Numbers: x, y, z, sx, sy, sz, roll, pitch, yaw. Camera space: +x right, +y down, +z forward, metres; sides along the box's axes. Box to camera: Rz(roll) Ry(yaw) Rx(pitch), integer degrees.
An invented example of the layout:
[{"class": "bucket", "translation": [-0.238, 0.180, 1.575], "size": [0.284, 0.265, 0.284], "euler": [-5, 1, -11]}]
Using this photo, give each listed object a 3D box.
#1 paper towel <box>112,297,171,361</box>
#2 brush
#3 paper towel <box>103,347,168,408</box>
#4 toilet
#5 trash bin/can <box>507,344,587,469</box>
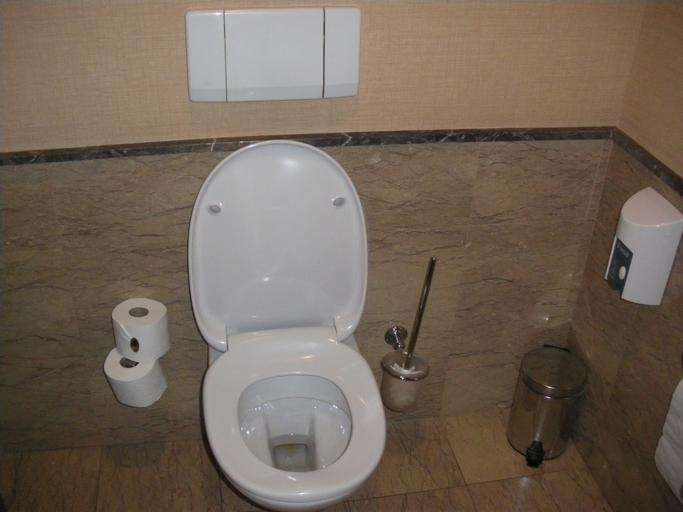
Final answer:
[{"class": "paper towel", "translation": [-0.570, 0.210, 1.668], "size": [0.143, 0.131, 0.126], "euler": [-4, 34, -20]}, {"class": "brush", "translation": [0.225, 0.173, 1.759], "size": [0.091, 0.402, 0.201], "euler": [5, 33, 12]}, {"class": "paper towel", "translation": [-0.610, 0.352, 1.725], "size": [0.144, 0.133, 0.145], "euler": [-20, 46, -29]}, {"class": "toilet", "translation": [-0.124, 0.197, 1.452], "size": [0.478, 0.804, 0.578], "euler": [-8, 33, -10]}, {"class": "trash bin/can", "translation": [0.663, 0.492, 1.918], "size": [0.198, 0.330, 0.211], "euler": [13, 35, 23]}]
